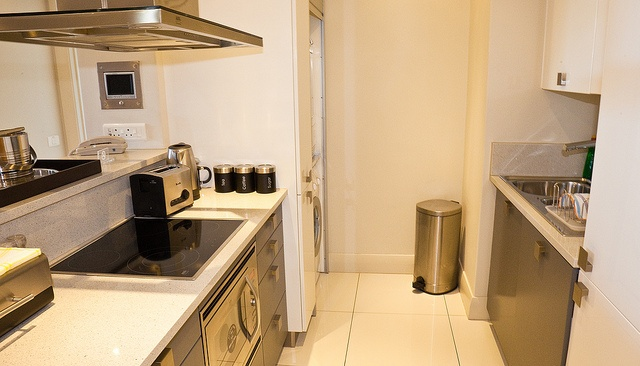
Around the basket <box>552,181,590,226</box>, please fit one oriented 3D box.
[{"bbox_3d":[1.708,0.086,2.954,0.230,0.175,0.864,7,15,29],"label":"basket"}]

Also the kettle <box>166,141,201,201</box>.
[{"bbox_3d":[-0.957,-0.078,3.096,0.173,0.415,0.193,0,-2,24],"label":"kettle"}]

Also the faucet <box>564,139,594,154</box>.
[{"bbox_3d":[1.935,-0.281,3.252,0.205,0.103,0.191,5,15,22],"label":"faucet"}]

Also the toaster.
[{"bbox_3d":[-1.043,0.043,2.861,0.223,0.348,0.318,0,0,0],"label":"toaster"}]

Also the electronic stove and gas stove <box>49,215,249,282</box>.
[{"bbox_3d":[-0.967,0.358,2.535,0.883,0.118,0.658,1,13,7],"label":"electronic stove and gas stove"}]

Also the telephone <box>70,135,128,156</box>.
[{"bbox_3d":[-1.537,-0.265,3.074,0.197,0.129,0.390,6,15,25],"label":"telephone"}]
